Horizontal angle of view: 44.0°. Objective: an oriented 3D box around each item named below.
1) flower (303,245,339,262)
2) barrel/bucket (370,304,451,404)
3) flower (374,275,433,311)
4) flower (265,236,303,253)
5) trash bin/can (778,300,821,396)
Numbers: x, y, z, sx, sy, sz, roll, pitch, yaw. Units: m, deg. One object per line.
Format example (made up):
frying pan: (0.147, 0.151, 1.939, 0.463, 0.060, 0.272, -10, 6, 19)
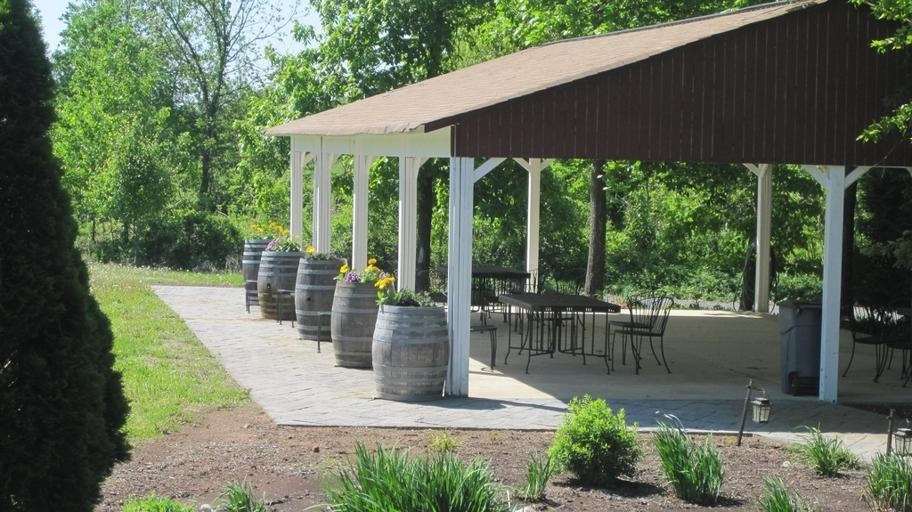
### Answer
flower: (-2.906, -0.011, 23.942, 0.578, 0.560, 0.590, 3, 3, 17)
barrel/bucket: (-0.809, 1.798, 20.816, 1.562, 1.634, 1.522, 1, -4, 0)
flower: (-1.165, 0.664, 20.859, 0.672, 0.430, 0.530, 11, -1, -9)
flower: (-3.871, -0.228, 25.625, 0.509, 0.261, 0.513, 3, -2, -33)
trash bin/can: (6.385, 1.724, 21.108, 0.765, 1.731, 0.311, 2, -2, 16)
